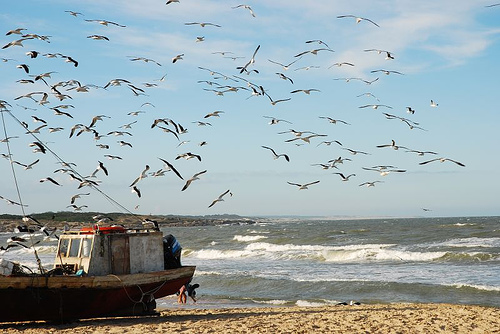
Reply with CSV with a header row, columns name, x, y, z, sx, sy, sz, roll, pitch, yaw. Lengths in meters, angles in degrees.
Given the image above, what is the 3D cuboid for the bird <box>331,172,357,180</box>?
name,x,y,z,sx,sy,sz,roll,pitch,yaw
bird,1.721,0.174,13.736,0.481,0.066,0.203,3,8,26
